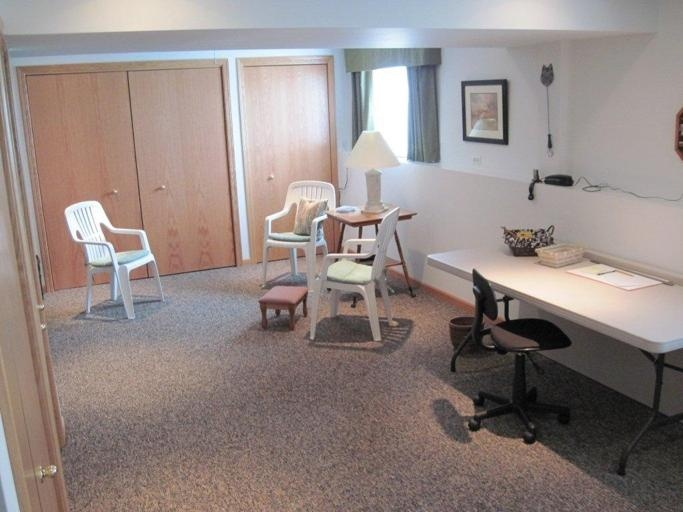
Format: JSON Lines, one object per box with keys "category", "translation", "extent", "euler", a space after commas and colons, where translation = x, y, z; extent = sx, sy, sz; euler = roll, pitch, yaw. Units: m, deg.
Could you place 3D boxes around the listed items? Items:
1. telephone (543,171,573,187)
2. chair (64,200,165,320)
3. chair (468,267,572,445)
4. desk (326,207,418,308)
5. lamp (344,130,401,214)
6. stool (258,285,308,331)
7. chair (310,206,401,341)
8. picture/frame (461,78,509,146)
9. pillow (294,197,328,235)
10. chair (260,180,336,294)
{"category": "telephone", "translation": [1.660, -0.579, 3.852], "extent": [0.215, 0.085, 0.134], "euler": [3, 18, 22]}
{"category": "chair", "translation": [-2.319, 0.005, 5.124], "extent": [0.710, 1.036, 0.668], "euler": [4, 13, 12]}
{"category": "chair", "translation": [1.128, 0.611, 3.179], "extent": [0.599, 0.930, 0.655], "euler": [2, 7, 14]}
{"category": "desk", "translation": [0.411, -0.052, 5.445], "extent": [0.781, 0.954, 0.804], "euler": [-1, 19, 20]}
{"category": "lamp", "translation": [0.386, -0.876, 5.211], "extent": [0.530, 0.819, 0.679], "euler": [5, 19, 28]}
{"category": "stool", "translation": [-0.538, 0.476, 4.757], "extent": [0.379, 0.321, 0.503], "euler": [1, 13, 4]}
{"category": "chair", "translation": [0.117, 0.139, 4.462], "extent": [0.655, 1.114, 0.676], "euler": [6, 14, 20]}
{"category": "picture/frame", "translation": [1.274, -1.289, 4.505], "extent": [0.042, 0.550, 0.545], "euler": [-18, 22, -26]}
{"category": "pillow", "translation": [-0.348, -0.450, 5.549], "extent": [0.435, 0.449, 0.169], "euler": [-2, -22, 37]}
{"category": "chair", "translation": [-0.472, -0.237, 5.709], "extent": [0.714, 1.193, 0.722], "euler": [8, 14, 31]}
